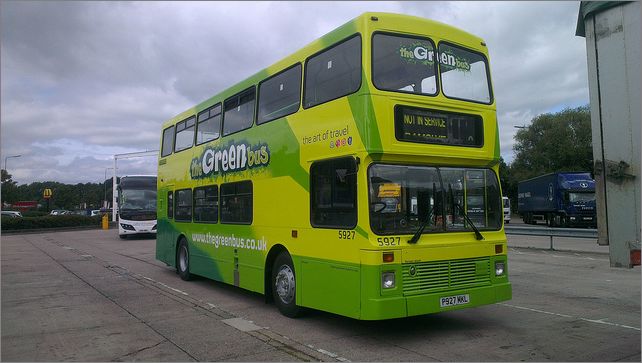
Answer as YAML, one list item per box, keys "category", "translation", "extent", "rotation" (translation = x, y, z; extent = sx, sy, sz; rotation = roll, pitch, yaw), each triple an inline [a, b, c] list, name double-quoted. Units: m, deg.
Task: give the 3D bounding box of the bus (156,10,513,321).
- category: "bus"
  translation: [0.683, 0.087, 10.586]
  extent: [2.852, 3.483, 7.452]
  rotation: [2, -4, -37]

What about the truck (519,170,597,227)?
- category: "truck"
  translation: [20.894, 1.741, 37.724]
  extent: [2.740, 4.129, 10.754]
  rotation: [0, -4, 6]
